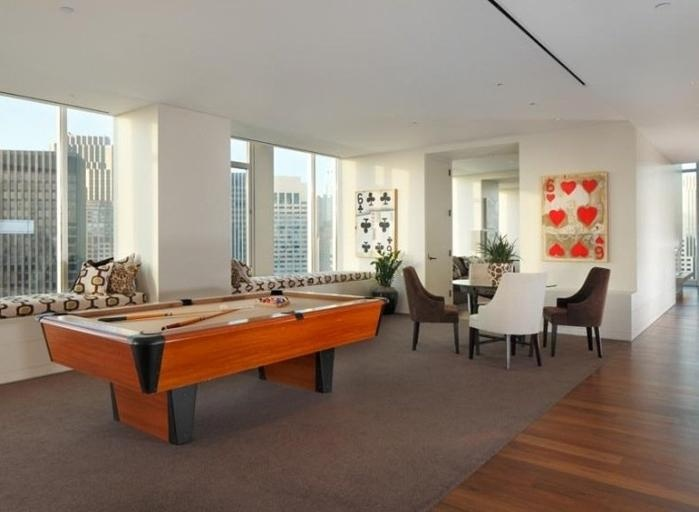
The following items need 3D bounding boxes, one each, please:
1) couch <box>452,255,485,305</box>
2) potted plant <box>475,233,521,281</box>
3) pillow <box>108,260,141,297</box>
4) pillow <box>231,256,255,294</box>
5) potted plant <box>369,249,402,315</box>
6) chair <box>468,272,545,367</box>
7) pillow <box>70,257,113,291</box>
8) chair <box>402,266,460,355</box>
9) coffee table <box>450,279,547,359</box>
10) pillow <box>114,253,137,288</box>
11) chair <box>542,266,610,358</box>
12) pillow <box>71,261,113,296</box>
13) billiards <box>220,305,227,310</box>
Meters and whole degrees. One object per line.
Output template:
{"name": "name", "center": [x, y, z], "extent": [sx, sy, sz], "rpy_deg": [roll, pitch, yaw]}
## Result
{"name": "couch", "center": [2.024, 0.446, 8.001], "extent": [0.579, 0.751, 1.085], "rpy_deg": [-1, -1, 32]}
{"name": "potted plant", "center": [2.384, 0.061, 7.301], "extent": [0.556, 0.732, 0.594], "rpy_deg": [2, 5, 3]}
{"name": "pillow", "center": [-2.839, 0.274, 5.829], "extent": [0.348, 0.407, 0.120], "rpy_deg": [4, -9, -21]}
{"name": "pillow", "center": [-1.627, 0.309, 6.973], "extent": [0.186, 0.452, 0.427], "rpy_deg": [-7, 1, 31]}
{"name": "potted plant", "center": [0.695, 0.473, 8.684], "extent": [0.560, 1.101, 0.581], "rpy_deg": [0, -8, -27]}
{"name": "chair", "center": [1.916, 0.745, 5.539], "extent": [0.726, 1.072, 0.809], "rpy_deg": [2, 0, -26]}
{"name": "pillow", "center": [-3.120, 0.225, 5.691], "extent": [0.431, 0.429, 0.131], "rpy_deg": [-5, -29, 21]}
{"name": "chair", "center": [1.163, 0.706, 6.315], "extent": [0.888, 1.089, 0.819], "rpy_deg": [1, 1, -14]}
{"name": "coffee table", "center": [1.909, 0.733, 5.591], "extent": [0.846, 1.078, 0.880], "rpy_deg": [2, -1, -44]}
{"name": "pillow", "center": [-2.880, 0.163, 6.069], "extent": [0.362, 0.361, 0.109], "rpy_deg": [-14, -23, -35]}
{"name": "chair", "center": [2.966, 0.713, 6.127], "extent": [0.779, 1.128, 0.808], "rpy_deg": [1, 1, -1]}
{"name": "pillow", "center": [-3.156, 0.256, 5.734], "extent": [0.502, 0.490, 0.154], "rpy_deg": [-1, -27, 11]}
{"name": "billiards", "center": [-1.114, 0.455, 4.111], "extent": [0.039, 0.021, 0.040], "rpy_deg": [5, 8, 36]}
